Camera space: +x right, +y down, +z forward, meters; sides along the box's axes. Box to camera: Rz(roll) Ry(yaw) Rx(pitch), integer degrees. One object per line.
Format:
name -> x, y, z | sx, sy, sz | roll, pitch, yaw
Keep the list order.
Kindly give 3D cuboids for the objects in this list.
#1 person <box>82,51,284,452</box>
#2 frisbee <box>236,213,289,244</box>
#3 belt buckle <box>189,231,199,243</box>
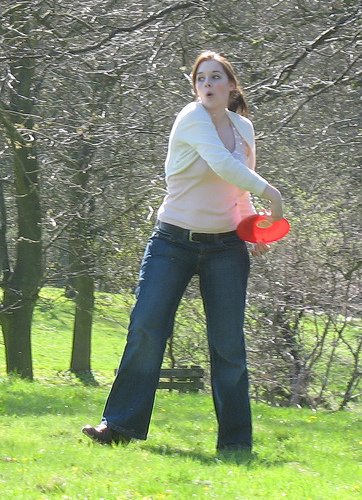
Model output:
person -> 0.146, 0.008, 2.863 | 0.652, 1.806, 0.655 | 10, -2, 24
frisbee -> 0.398, -0.121, 2.871 | 0.224, 0.039, 0.205 | 27, -42, -19
belt buckle -> 0.060, -0.060, 2.778 | 0.056, 0.049, 0.016 | 8, -1, -10
